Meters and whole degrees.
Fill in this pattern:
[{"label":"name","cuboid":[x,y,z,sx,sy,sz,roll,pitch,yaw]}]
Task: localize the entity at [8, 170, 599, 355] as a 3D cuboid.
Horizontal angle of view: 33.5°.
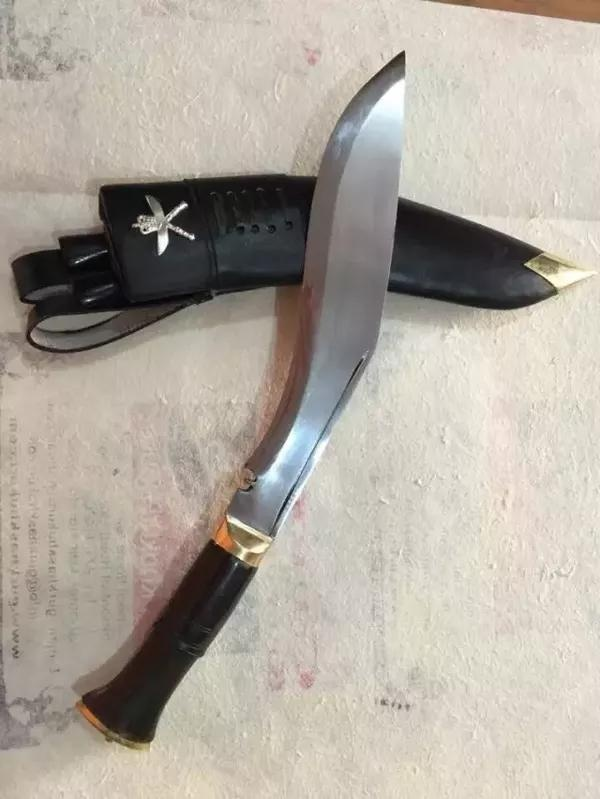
[{"label":"entity","cuboid":[0.006,-0.152,1.217,0.661,0.131,0.215,3,79,-7]}]
